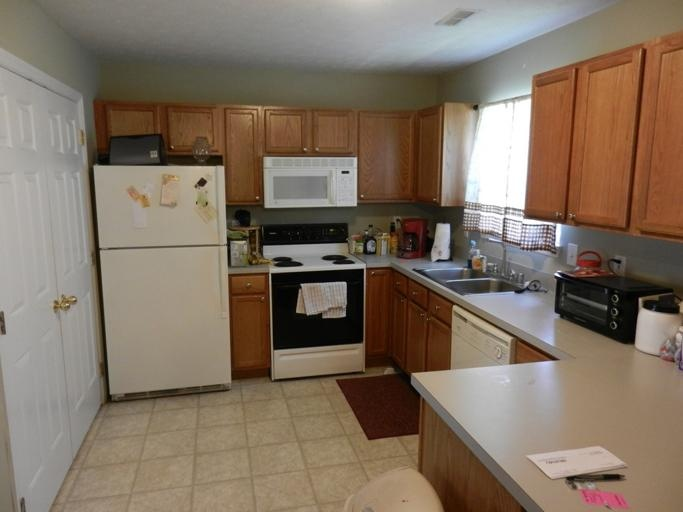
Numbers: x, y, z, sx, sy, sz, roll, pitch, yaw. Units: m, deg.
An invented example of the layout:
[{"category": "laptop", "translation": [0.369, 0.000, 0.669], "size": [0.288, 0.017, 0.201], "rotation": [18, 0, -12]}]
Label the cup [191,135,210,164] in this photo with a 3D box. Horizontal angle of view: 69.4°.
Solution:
[{"category": "cup", "translation": [-1.142, -0.869, 4.046], "size": [0.118, 0.210, 0.131], "rotation": [-2, 11, -12]}]

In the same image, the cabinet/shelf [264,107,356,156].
[{"category": "cabinet/shelf", "translation": [-0.290, -1.134, 4.665], "size": [0.872, 0.466, 0.317], "rotation": [0, -5, -2]}]

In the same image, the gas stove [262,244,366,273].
[{"category": "gas stove", "translation": [-0.259, 0.007, 4.578], "size": [0.867, 0.154, 0.649], "rotation": [-3, 11, -14]}]

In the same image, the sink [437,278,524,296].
[{"category": "sink", "translation": [1.047, 0.251, 3.864], "size": [0.570, 0.116, 0.329], "rotation": [-2, 11, -11]}]

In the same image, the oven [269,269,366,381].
[{"category": "oven", "translation": [-0.277, 0.568, 4.631], "size": [0.868, 1.012, 0.668], "rotation": [-2, 6, -20]}]

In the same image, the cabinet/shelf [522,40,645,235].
[{"category": "cabinet/shelf", "translation": [1.544, -0.675, 2.985], "size": [0.367, 1.027, 1.047], "rotation": [-2, 10, -10]}]

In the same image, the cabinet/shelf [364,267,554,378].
[{"category": "cabinet/shelf", "translation": [0.764, 0.562, 4.109], "size": [0.782, 1.024, 1.541], "rotation": [-2, 11, -11]}]

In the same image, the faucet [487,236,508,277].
[{"category": "faucet", "translation": [1.287, -0.007, 4.076], "size": [0.107, 0.284, 0.360], "rotation": [-1, 11, -5]}]

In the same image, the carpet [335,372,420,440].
[{"category": "carpet", "translation": [0.281, 1.200, 3.884], "size": [0.380, 0.008, 0.733], "rotation": [-1, 15, -12]}]

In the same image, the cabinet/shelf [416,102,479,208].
[{"category": "cabinet/shelf", "translation": [0.948, -0.913, 4.557], "size": [0.379, 0.881, 0.499], "rotation": [-3, 11, -15]}]

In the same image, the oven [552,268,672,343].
[{"category": "oven", "translation": [1.578, 0.166, 2.843], "size": [0.354, 0.345, 0.527], "rotation": [-3, 11, -15]}]

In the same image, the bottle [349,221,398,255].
[{"category": "bottle", "translation": [0.320, -0.178, 4.985], "size": [0.504, 0.282, 0.378], "rotation": [0, 11, 2]}]

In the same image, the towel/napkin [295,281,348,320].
[{"category": "towel/napkin", "translation": [-0.197, 0.371, 4.293], "size": [0.314, 0.234, 0.068], "rotation": [-1, 8, -16]}]

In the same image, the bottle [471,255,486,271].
[{"category": "bottle", "translation": [1.161, 0.058, 4.170], "size": [0.132, 0.126, 0.102], "rotation": [5, 12, 22]}]

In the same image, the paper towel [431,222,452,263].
[{"category": "paper towel", "translation": [0.933, -0.133, 4.583], "size": [0.208, 0.343, 0.135], "rotation": [-1, 11, -5]}]

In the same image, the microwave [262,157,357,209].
[{"category": "microwave", "translation": [-0.279, -0.687, 4.548], "size": [0.849, 0.450, 0.171], "rotation": [-1, 11, -5]}]
